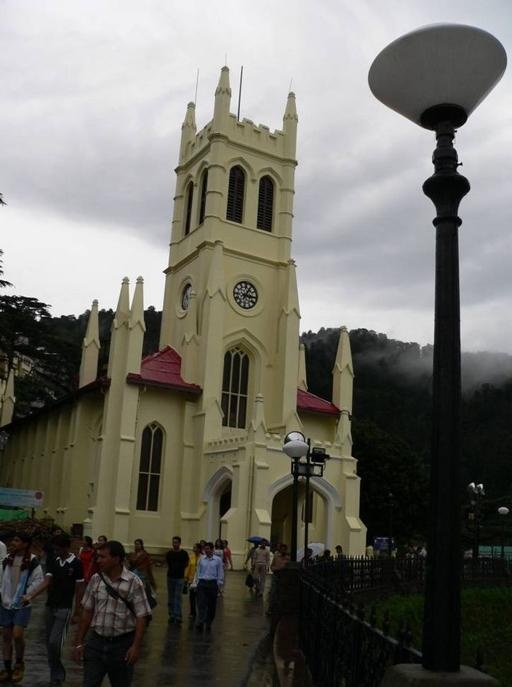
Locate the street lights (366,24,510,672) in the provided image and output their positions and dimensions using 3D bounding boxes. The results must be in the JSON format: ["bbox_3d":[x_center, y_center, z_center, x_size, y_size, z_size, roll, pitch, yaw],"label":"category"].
[{"bbox_3d":[1.038,-0.123,3.426,0.829,3.545,0.640,-5,-16,28],"label":"street lights"}]
